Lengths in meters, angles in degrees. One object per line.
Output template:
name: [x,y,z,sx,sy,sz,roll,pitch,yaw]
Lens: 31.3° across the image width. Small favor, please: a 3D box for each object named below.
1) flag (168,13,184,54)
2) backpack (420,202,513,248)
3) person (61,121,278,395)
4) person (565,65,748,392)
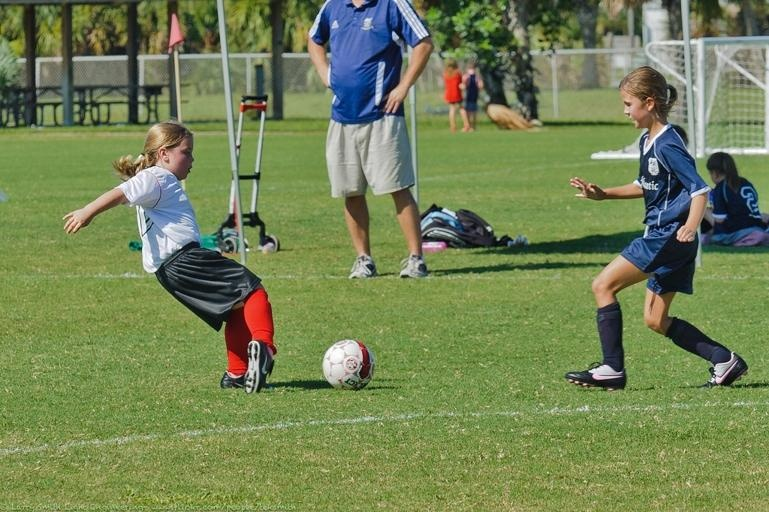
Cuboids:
flag: [-2.177,-2.323,14.268,0.159,0.409,0.492,-3,6,-8]
backpack: [0.894,-0.298,14.967,1.067,0.399,0.716,10,16,8]
person: [-1.422,0.012,10.720,1.389,2.176,0.837,0,3,-3]
person: [2.086,-0.152,10.258,1.440,2.419,0.986,1,2,3]
